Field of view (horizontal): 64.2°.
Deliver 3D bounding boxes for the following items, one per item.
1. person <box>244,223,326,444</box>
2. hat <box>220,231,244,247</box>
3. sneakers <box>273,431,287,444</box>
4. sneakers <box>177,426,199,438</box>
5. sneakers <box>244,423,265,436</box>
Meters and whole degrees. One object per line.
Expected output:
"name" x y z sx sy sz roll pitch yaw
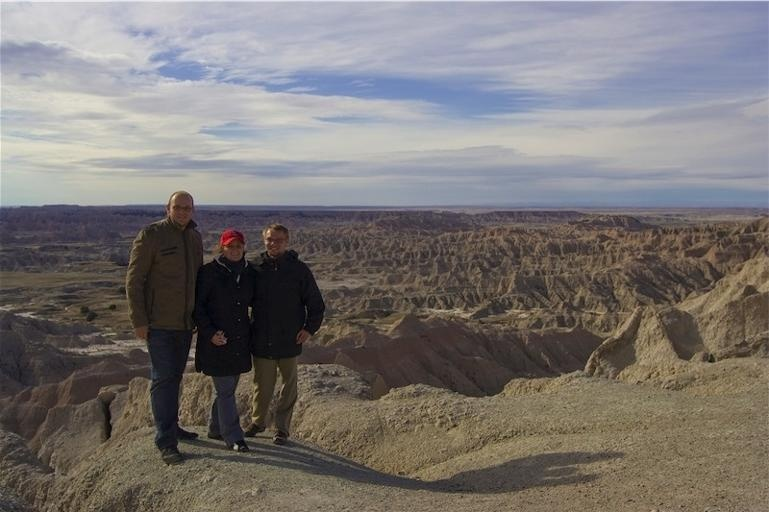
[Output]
"person" -1.540 1.204 9.256 1.249 2.428 0.563 -6 -2 4
"hat" -2.219 -0.248 8.868 0.250 0.169 0.329 1 -3 -22
"sneakers" -1.620 2.810 9.493 0.131 0.111 0.276 3 1 -5
"sneakers" -3.008 2.683 9.309 0.388 0.152 0.130 4 9 -4
"sneakers" -2.077 2.728 9.803 0.185 0.191 0.460 8 4 -3
